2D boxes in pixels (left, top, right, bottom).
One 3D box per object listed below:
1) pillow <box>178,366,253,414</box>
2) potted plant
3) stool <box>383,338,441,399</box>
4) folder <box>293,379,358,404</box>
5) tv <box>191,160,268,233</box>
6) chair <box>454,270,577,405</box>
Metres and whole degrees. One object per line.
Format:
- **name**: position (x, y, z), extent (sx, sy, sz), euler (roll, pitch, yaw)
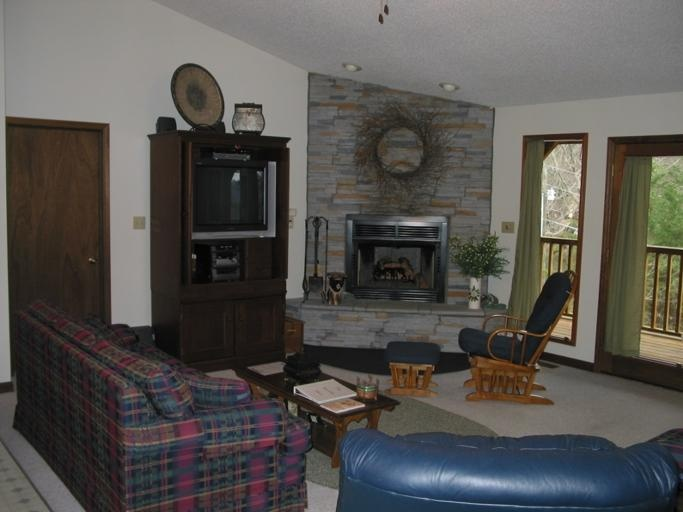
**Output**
- **pillow**: position (-0.692, 0.772, 2.888), extent (0.268, 0.092, 0.257), euler (2, 12, -23)
- **potted plant**: position (1.638, 0.176, 6.578), extent (1.015, 1.098, 0.863), euler (-1, 4, -4)
- **stool**: position (0.708, 1.093, 4.953), extent (0.546, 0.400, 0.506), euler (0, -5, 3)
- **folder**: position (-0.124, 1.000, 3.689), extent (0.212, 0.047, 0.197), euler (-4, 9, -36)
- **tv**: position (-1.350, -0.626, 5.495), extent (0.561, 0.817, 1.025), euler (8, 10, 38)
- **chair**: position (1.719, 0.782, 5.112), extent (1.081, 1.236, 0.834), euler (2, 5, 8)
